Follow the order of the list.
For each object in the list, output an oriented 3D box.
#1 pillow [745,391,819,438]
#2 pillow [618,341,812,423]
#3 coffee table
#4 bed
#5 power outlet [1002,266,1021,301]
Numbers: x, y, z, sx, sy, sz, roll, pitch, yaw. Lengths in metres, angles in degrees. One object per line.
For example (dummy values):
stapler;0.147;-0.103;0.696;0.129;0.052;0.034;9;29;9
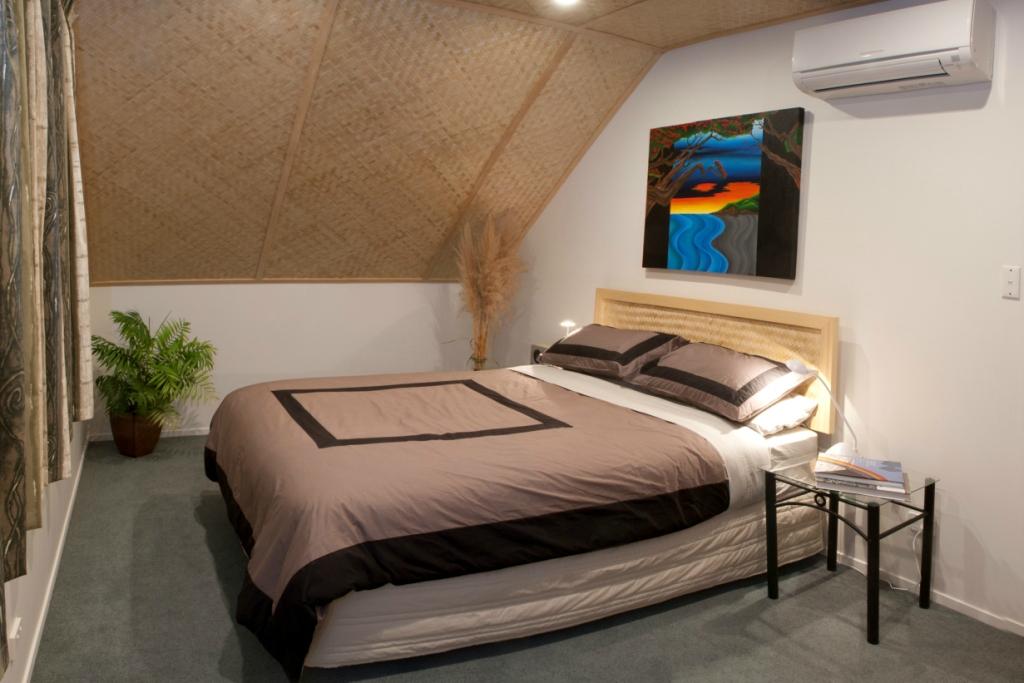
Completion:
pillow;1.498;0.408;3.812;0.340;0.078;0.212;-22;34;-14
pillow;1.168;0.223;3.932;0.550;0.166;0.592;-29;28;-27
coffee table;1.640;0.858;3.610;0.947;0.873;0.810;-7;11;-40
bed;0.005;0.719;3.420;2.326;0.904;1.897;-6;12;-30
power outlet;2.374;-0.280;3.296;0.094;0.162;0.030;16;20;42
